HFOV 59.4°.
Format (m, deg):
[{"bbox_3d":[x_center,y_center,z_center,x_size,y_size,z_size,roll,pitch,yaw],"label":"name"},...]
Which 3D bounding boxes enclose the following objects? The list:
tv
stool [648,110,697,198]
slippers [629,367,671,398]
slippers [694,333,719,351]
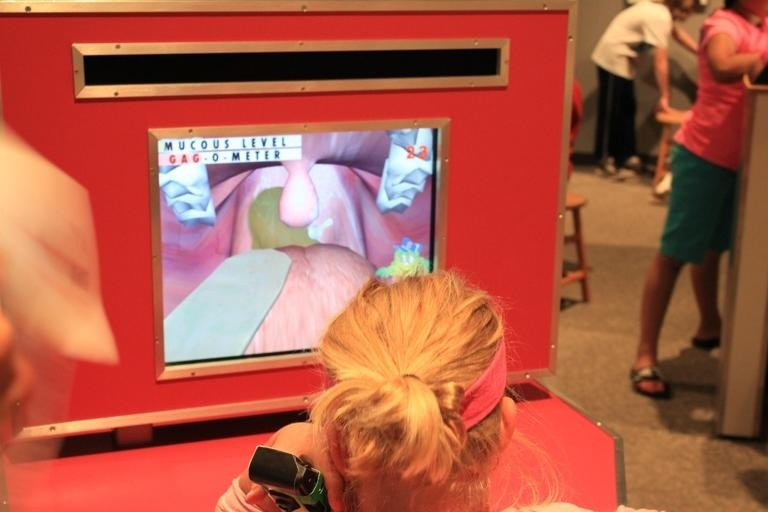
[{"bbox_3d":[-0.233,-0.035,1.562,0.644,0.519,0.013,-6,20,-15],"label":"tv"},{"bbox_3d":[0.872,-0.306,1.992,0.191,0.211,0.177,2,16,37],"label":"stool"},{"bbox_3d":[0.795,0.373,2.034,0.112,0.065,0.045,19,25,38],"label":"slippers"},{"bbox_3d":[0.941,0.251,1.970,0.059,0.031,0.025,6,16,43],"label":"slippers"}]
